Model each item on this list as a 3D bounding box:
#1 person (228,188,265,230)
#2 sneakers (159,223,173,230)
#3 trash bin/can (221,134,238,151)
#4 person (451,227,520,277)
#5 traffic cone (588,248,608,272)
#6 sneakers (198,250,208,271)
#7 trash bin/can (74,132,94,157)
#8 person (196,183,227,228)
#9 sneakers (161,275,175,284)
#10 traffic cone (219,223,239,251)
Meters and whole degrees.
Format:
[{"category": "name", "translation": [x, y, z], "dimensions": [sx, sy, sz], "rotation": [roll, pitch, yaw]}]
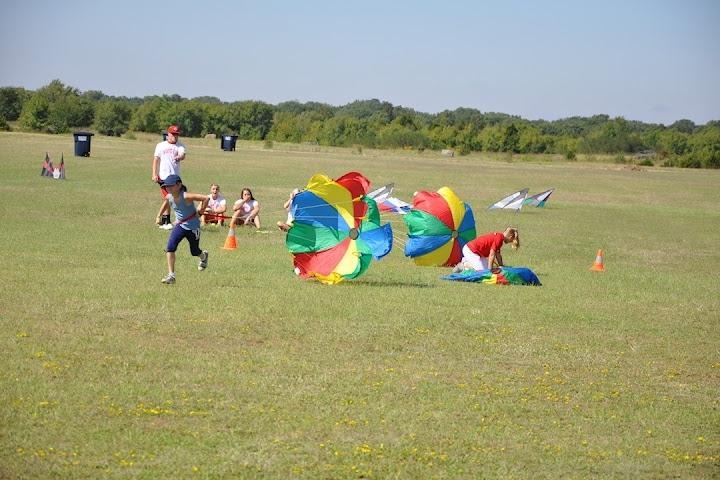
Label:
[{"category": "person", "translation": [-3.526, -0.960, 32.477], "dimensions": [1.103, 1.228, 1.236], "rotation": [-5, 9, -33]}, {"category": "sneakers", "translation": [-5.629, -0.418, 31.147], "dimensions": [0.527, 0.179, 0.226], "rotation": [-2, 3, 7]}, {"category": "trash bin/can", "translation": [-9.768, -7.197, 79.932], "dimensions": [1.616, 1.474, 1.327], "rotation": [1, 0, 2]}, {"category": "person", "translation": [3.184, 0.215, 27.465], "dimensions": [1.728, 1.252, 0.752], "rotation": [7, 2, 14]}, {"category": "traffic cone", "translation": [6.550, 0.514, 29.234], "dimensions": [0.621, 0.626, 0.610], "rotation": [0, 5, -10]}, {"category": "sneakers", "translation": [-3.931, 0.476, 26.395], "dimensions": [0.200, 0.542, 0.251], "rotation": [7, 4, 18]}, {"category": "trash bin/can", "translation": [-14.415, -4.901, 55.371], "dimensions": [1.294, 1.502, 1.252], "rotation": [-1, 3, -22]}, {"category": "person", "translation": [-4.460, -1.042, 32.503], "dimensions": [0.869, 1.247, 1.148], "rotation": [5, 12, 17]}, {"category": "sneakers", "translation": [-4.478, 0.887, 25.217], "dimensions": [0.416, 0.176, 0.136], "rotation": [2, 1, -11]}, {"category": "traffic cone", "translation": [-3.771, -0.082, 29.466], "dimensions": [0.588, 0.732, 0.586], "rotation": [5, 1, -2]}]
